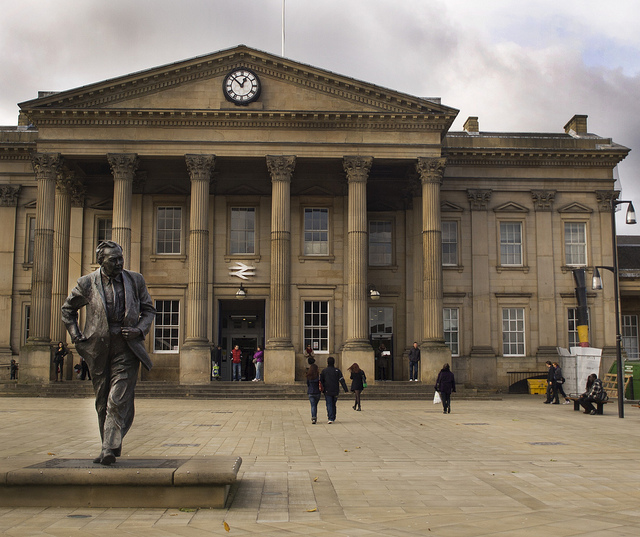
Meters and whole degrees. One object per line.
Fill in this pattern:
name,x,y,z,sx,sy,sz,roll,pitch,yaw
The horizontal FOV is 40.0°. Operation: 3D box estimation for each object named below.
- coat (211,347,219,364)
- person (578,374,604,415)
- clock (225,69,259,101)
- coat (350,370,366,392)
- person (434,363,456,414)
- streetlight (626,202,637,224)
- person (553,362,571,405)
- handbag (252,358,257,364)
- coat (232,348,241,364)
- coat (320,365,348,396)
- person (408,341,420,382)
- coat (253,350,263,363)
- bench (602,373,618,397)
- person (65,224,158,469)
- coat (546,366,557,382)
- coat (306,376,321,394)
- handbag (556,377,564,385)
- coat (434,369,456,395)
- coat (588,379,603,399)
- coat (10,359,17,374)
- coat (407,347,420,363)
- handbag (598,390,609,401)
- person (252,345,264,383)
coat,-4.644,3.913,39.181,0.291,0.656,0.770,0,-7,-6
person,9.063,4.217,29.238,0.768,1.271,1.214,-3,-7,19
clock,-3.403,-7.903,38.381,1.054,1.121,0.179,-16,-6,2
coat,1.249,3.736,28.855,0.373,0.653,0.848,-1,-7,3
person,4.143,3.969,28.941,0.590,1.598,1.849,-1,-7,8
streetlight,9.628,-1.667,27.220,0.254,0.803,0.885,-3,-7,19
person,9.310,4.464,33.823,0.541,1.582,1.820,-2,-7,16
handbag,-2.889,4.178,39.457,0.120,0.302,0.275,30,-4,-5
coat,-3.770,4.025,39.838,0.622,0.846,0.456,1,-14,-6
coat,0.379,3.272,25.532,0.504,0.875,0.860,-4,-8,29
person,4.161,4.114,38.503,0.405,1.669,1.355,-1,-7,4
coat,-2.700,3.944,39.189,0.321,0.532,0.304,1,-7,-14
bench,11.601,4.691,35.044,0.495,0.954,1.788,-2,-7,15
person,-3.304,1.329,13.994,1.318,3.579,0.554,1,-7,-13
coat,8.866,4.077,33.624,0.136,0.594,0.513,1,-7,-9
coat,-0.167,3.393,25.373,0.445,0.565,0.389,0,-3,4
handbag,9.181,4.341,33.532,0.277,0.237,0.540,-3,-7,17
coat,4.144,3.766,28.929,0.458,0.816,0.597,-3,-7,22
coat,9.187,4.000,29.151,0.211,0.557,0.401,34,-5,5
coat,-13.909,4.577,39.977,0.324,0.507,0.292,6,-9,-42
coat,4.144,3.781,37.990,0.377,0.640,0.709,0,-7,-4
handbag,9.405,4.243,29.070,0.248,0.304,0.962,-4,-8,28
person,-2.728,4.251,39.175,0.398,1.518,1.317,0,-7,-5
